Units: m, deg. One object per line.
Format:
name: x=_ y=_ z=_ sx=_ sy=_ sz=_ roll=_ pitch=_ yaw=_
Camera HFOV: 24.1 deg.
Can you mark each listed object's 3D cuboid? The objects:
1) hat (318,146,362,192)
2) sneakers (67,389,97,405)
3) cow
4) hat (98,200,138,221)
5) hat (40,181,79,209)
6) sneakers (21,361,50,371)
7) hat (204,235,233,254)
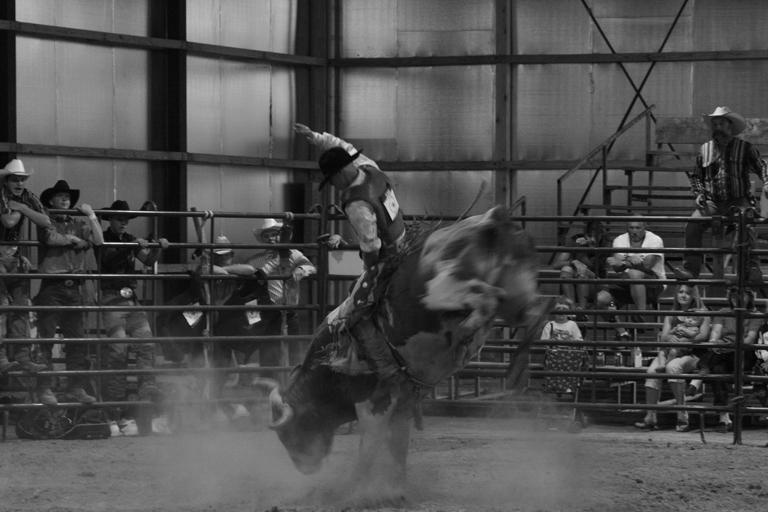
hat: x=-0.518 y=-1.007 z=20.577 sx=0.592 sy=0.216 sz=0.395 roll=-32 pitch=7 yaw=10
sneakers: x=-3.800 y=1.789 z=22.934 sx=0.350 sy=0.107 sz=0.177 roll=4 pitch=3 yaw=21
cow: x=0.315 y=1.047 z=20.716 sx=2.811 sy=3.273 sz=0.787 roll=1 pitch=-2 yaw=26
hat: x=-3.415 y=-0.589 z=23.849 sx=0.494 sy=0.142 sz=0.424 roll=-8 pitch=-12 yaw=42
hat: x=-4.234 y=-0.839 z=23.677 sx=0.452 sy=0.165 sz=0.497 roll=2 pitch=-10 yaw=-13
sneakers: x=-4.375 y=1.402 z=22.851 sx=0.345 sy=0.112 sz=0.235 roll=2 pitch=-2 yaw=-24
hat: x=-2.167 y=-0.149 z=24.362 sx=0.357 sy=0.425 sz=0.489 roll=-1 pitch=3 yaw=0
